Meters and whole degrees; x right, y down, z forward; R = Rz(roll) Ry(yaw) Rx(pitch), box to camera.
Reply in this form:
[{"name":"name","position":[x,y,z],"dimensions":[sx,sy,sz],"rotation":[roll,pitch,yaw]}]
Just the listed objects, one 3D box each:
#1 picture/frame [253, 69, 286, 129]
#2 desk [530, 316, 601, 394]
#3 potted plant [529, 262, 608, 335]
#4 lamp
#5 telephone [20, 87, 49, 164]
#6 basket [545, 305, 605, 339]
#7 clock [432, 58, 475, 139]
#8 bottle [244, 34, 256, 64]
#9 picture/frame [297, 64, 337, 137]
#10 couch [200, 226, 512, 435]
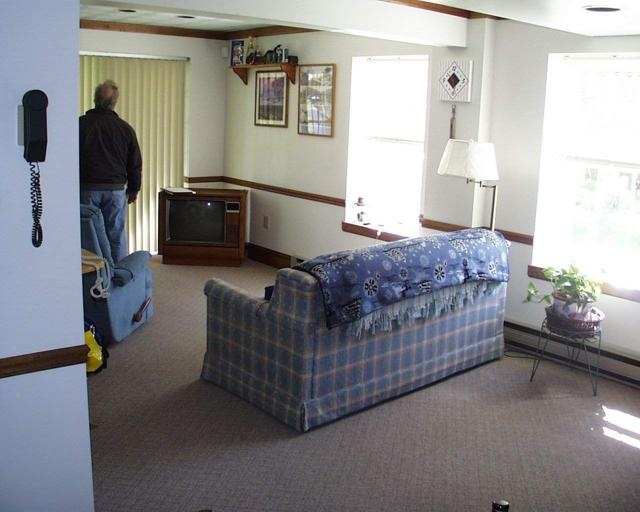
[{"name":"picture/frame","position":[-0.637,-2.033,6.556],"dimensions":[0.038,0.915,0.719],"rotation":[-3,6,-42]},{"name":"desk","position":[2.066,0.780,4.160],"dimensions":[0.445,0.406,0.455],"rotation":[16,12,-38]},{"name":"potted plant","position":[1.853,0.322,3.987],"dimensions":[0.490,0.494,0.529],"rotation":[-12,17,-43]},{"name":"lamp","position":[1.323,-0.602,4.445],"dimensions":[0.446,0.780,0.707],"rotation":[11,17,36]},{"name":"telephone","position":[-0.952,-0.435,1.715],"dimensions":[0.067,0.232,0.049],"rotation":[-7,15,-43]},{"name":"basket","position":[1.888,0.453,3.883],"dimensions":[0.259,0.098,0.284],"rotation":[0,4,-7]},{"name":"clock","position":[1.237,-1.465,4.764],"dimensions":[0.073,0.716,0.372],"rotation":[-8,16,-36]},{"name":"bottle","position":[-0.898,-2.639,6.565],"dimensions":[0.135,0.356,0.347],"rotation":[0,14,-9]},{"name":"picture/frame","position":[-0.029,-1.855,6.008],"dimensions":[0.716,1.079,0.072],"rotation":[11,16,43]},{"name":"couch","position":[0.379,0.437,3.684],"dimensions":[2.116,1.161,0.831],"rotation":[-4,15,-24]}]
